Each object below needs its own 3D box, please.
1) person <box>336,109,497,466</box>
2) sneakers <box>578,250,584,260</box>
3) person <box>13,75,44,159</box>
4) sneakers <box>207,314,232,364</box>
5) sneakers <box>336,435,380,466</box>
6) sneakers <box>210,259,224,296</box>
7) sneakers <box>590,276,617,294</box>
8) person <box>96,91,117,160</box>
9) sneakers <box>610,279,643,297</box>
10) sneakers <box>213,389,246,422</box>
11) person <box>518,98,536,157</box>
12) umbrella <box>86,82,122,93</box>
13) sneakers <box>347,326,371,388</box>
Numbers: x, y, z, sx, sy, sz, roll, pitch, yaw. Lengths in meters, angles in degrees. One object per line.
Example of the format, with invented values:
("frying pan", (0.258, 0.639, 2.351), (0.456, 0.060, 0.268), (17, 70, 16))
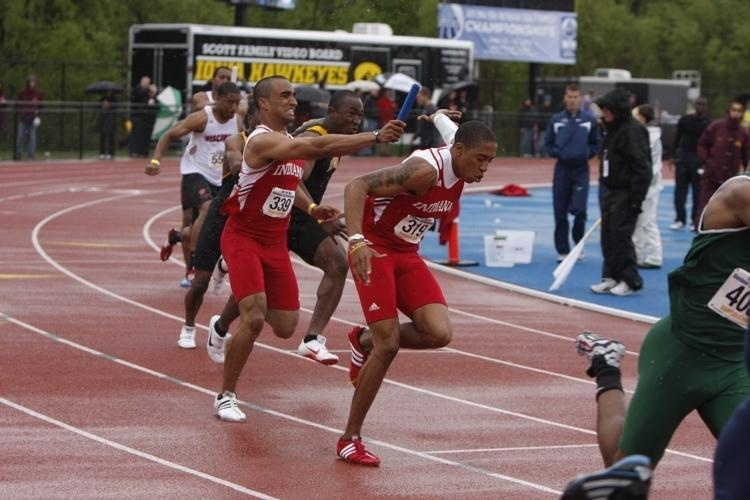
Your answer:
("person", (0.219, 0.330, 8.638), (1.220, 2.857, 0.698), (-5, 15, -30))
("sneakers", (3.515, 0.093, 17.423), (0.093, 0.105, 0.285), (4, 19, 15))
("person", (-9.298, -3.521, 27.389), (0.788, 2.262, 1.446), (-2, 14, -17))
("sneakers", (-1.542, 0.927, 10.174), (0.263, 0.555, 0.206), (-6, -8, 43))
("sneakers", (-0.167, 1.691, 8.589), (0.385, 0.165, 0.189), (8, 9, 23))
("sneakers", (-1.810, 0.318, 11.864), (0.192, 0.505, 0.226), (-1, 23, -10))
("sneakers", (3.230, 0.515, 14.354), (0.431, 0.169, 0.155), (-5, 23, 32))
("person", (-7.641, -3.414, 29.205), (0.513, 1.693, 1.349), (-1, 13, -15))
("sneakers", (3.426, 0.554, 14.096), (0.504, 0.189, 0.166), (-9, 19, 17))
("sneakers", (-1.328, 1.423, 9.304), (0.186, 0.148, 0.353), (-9, 19, -37))
("person", (5.670, -4.547, 38.009), (0.684, 2.181, 1.464), (4, 13, 8))
("umbrella", (-7.653, -4.594, 28.869), (0.989, 0.314, 0.985), (-1, 13, -15))
("sneakers", (-0.131, 0.961, 9.257), (0.251, 0.525, 0.195), (5, 15, 34))
